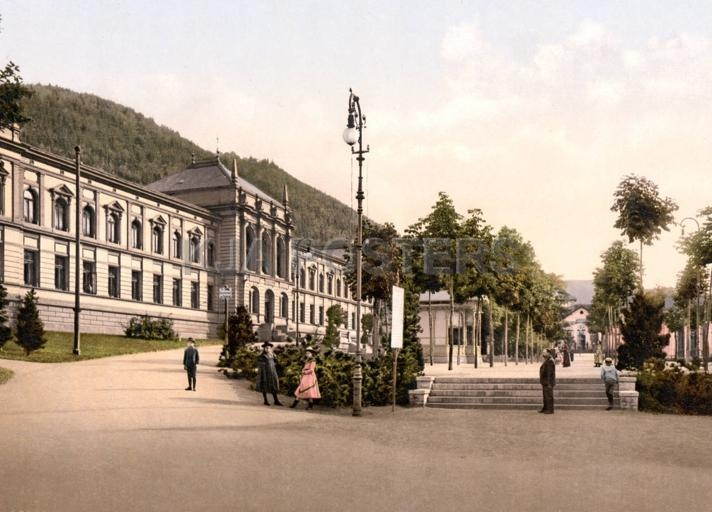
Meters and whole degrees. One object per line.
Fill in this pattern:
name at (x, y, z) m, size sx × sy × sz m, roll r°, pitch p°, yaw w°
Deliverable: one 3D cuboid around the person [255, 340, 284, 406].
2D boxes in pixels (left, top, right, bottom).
person at (-3.949, 5.406, 48.444) m, size 1.303 × 2.783 × 0.965 m, roll -2°, pitch -3°, yaw 41°
